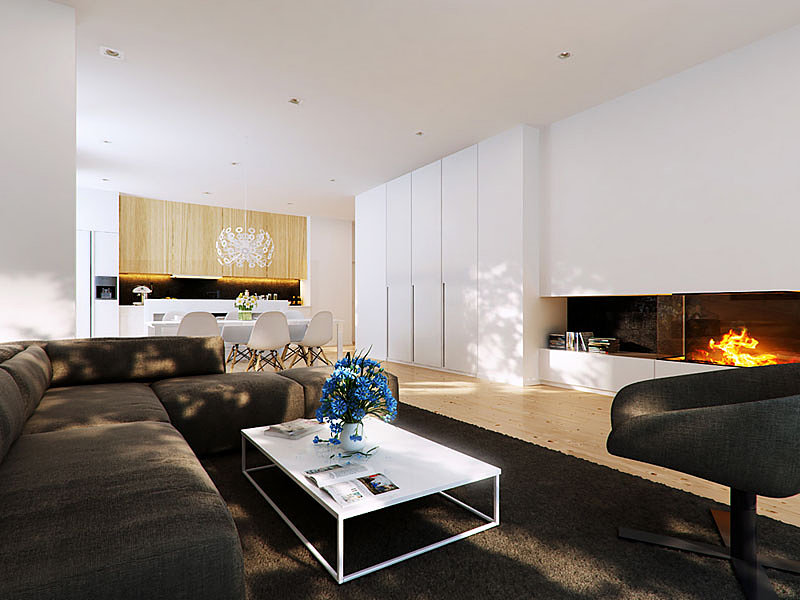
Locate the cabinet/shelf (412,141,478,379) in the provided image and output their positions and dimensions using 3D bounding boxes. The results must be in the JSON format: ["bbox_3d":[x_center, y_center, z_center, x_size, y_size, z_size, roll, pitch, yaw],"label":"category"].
[{"bbox_3d":[0.654,-0.543,7.300,0.475,2.996,1.489,-5,12,-25],"label":"cabinet/shelf"}]

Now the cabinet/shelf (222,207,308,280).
[{"bbox_3d":[-2.760,-1.160,10.552,1.450,1.168,0.456,2,-1,-37],"label":"cabinet/shelf"}]

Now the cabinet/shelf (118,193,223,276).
[{"bbox_3d":[-4.438,-1.269,10.024,1.517,1.214,0.485,0,1,-40],"label":"cabinet/shelf"}]

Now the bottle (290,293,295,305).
[{"bbox_3d":[-2.369,-0.021,11.777,0.138,0.180,0.152,-2,10,-11],"label":"bottle"}]

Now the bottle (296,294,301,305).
[{"bbox_3d":[-2.269,-0.021,11.795,0.133,0.177,0.170,-3,10,-16],"label":"bottle"}]

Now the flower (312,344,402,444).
[{"bbox_3d":[-0.238,0.542,3.211,0.486,0.586,0.511,3,-1,-34],"label":"flower"}]

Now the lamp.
[{"bbox_3d":[-2.846,-1.491,9.502,1.026,2.284,1.063,7,9,29],"label":"lamp"}]

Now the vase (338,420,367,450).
[{"bbox_3d":[-0.269,0.760,3.031,0.154,0.138,0.151,1,-5,-8],"label":"vase"}]
